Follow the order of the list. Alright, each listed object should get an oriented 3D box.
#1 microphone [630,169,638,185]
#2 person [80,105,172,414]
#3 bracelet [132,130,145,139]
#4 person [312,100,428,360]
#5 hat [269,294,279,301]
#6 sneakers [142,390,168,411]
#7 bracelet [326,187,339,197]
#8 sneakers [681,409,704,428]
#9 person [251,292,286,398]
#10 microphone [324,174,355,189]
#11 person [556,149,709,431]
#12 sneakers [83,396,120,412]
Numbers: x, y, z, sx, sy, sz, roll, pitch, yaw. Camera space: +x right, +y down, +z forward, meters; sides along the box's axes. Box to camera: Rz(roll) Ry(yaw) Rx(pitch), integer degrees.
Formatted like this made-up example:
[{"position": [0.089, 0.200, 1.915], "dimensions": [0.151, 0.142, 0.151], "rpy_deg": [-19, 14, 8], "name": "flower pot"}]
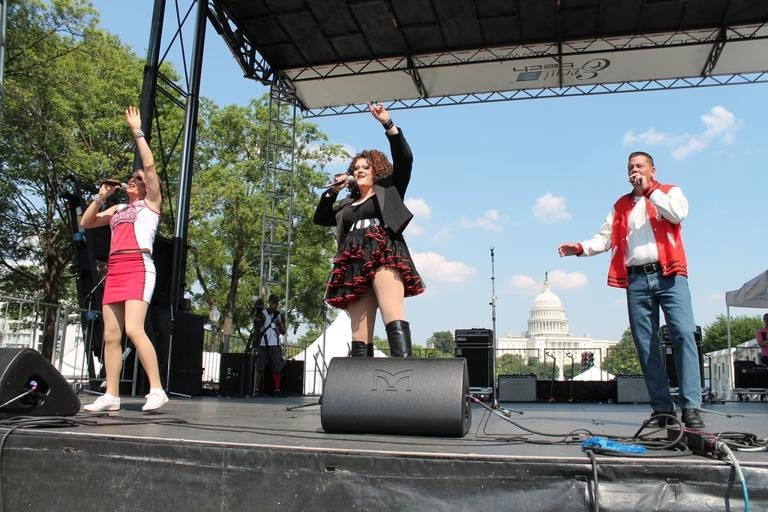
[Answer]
[{"position": [1.947, -0.631, 4.690], "dimensions": [0.026, 0.080, 0.058], "rpy_deg": [6, -14, -4], "name": "microphone"}, {"position": [-2.136, -0.056, 4.953], "dimensions": [0.675, 2.583, 0.490], "rpy_deg": [-5, -12, 19], "name": "person"}, {"position": [-2.043, -1.011, 4.977], "dimensions": [0.093, 0.061, 0.083], "rpy_deg": [-33, 17, -26], "name": "bracelet"}, {"position": [-0.116, -0.167, 4.481], "dimensions": [0.489, 1.847, 0.987], "rpy_deg": [9, -15, -39], "name": "person"}, {"position": [-2.039, 0.739, 10.899], "dimensions": [0.120, 0.147, 0.155], "rpy_deg": [1, -1, 5], "name": "hat"}, {"position": [-1.834, 1.150, 4.806], "dimensions": [0.107, 0.120, 0.277], "rpy_deg": [-8, -12, 2], "name": "sneakers"}, {"position": [-0.432, -0.518, 4.851], "dimensions": [0.079, 0.061, 0.066], "rpy_deg": [19, 11, -44], "name": "bracelet"}, {"position": [2.211, 1.178, 4.318], "dimensions": [0.134, 0.167, 0.412], "rpy_deg": [-8, -21, 21], "name": "sneakers"}, {"position": [-2.048, 1.536, 10.692], "dimensions": [0.480, 1.784, 0.869], "rpy_deg": [2, -12, -10], "name": "person"}, {"position": [-0.339, -0.595, 4.734], "dimensions": [0.262, 0.080, 0.080], "rpy_deg": [-4, 14, 17], "name": "microphone"}, {"position": [2.049, 0.325, 4.701], "dimensions": [0.488, 1.905, 0.712], "rpy_deg": [3, -12, -17], "name": "person"}, {"position": [-2.168, 1.148, 4.658], "dimensions": [0.301, 0.130, 0.112], "rpy_deg": [16, -20, -37], "name": "sneakers"}]
